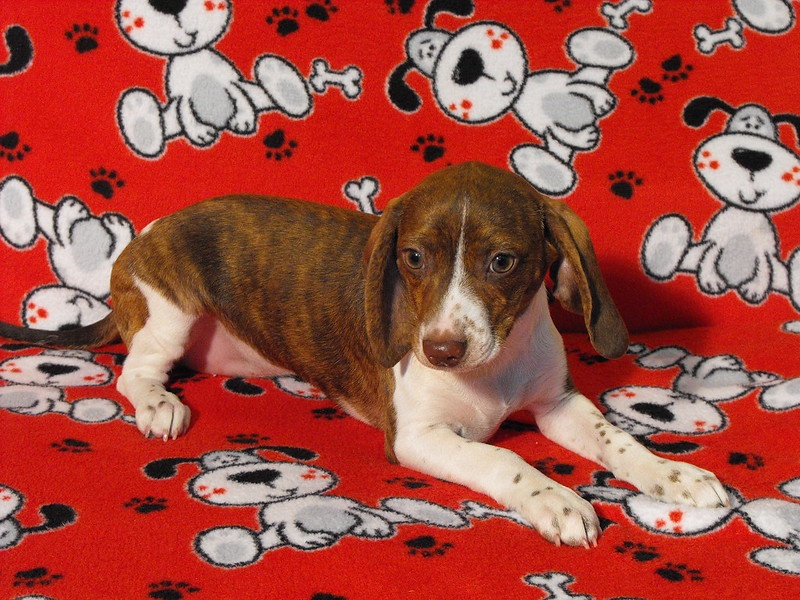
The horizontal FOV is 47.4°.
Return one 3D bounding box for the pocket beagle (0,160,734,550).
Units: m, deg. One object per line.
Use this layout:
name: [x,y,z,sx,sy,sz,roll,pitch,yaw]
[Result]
pocket beagle: [-0.181,-0.002,3.304,2.472,0.824,0.960,13,35,38]
